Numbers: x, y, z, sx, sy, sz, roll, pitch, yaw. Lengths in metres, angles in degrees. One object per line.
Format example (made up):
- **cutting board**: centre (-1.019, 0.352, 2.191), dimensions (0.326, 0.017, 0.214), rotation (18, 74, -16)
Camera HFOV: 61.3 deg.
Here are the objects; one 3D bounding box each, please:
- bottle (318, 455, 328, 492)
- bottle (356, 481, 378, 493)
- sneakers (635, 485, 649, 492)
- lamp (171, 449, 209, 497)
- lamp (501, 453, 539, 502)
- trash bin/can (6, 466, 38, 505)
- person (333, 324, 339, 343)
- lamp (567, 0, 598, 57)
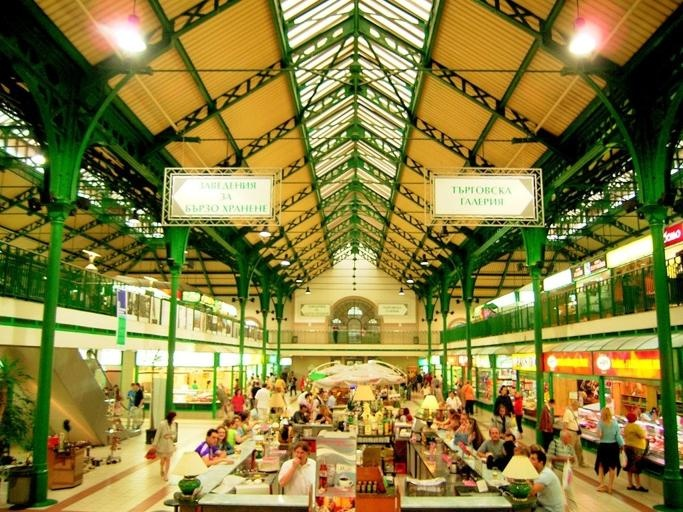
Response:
- **bottle**: centre (-0.323, 3.701, 9.919), dimensions (0.159, 0.542, 0.284), rotation (0, -16, -2)
- **bottle**: centre (0.445, 4.051, 10.214), dimensions (0.373, 0.173, 0.255), rotation (-2, -17, 2)
- **sneakers**: centre (7.537, 5.823, 14.549), dimensions (0.315, 0.141, 0.114), rotation (-2, -7, 12)
- **lamp**: centre (-2.768, 3.950, 10.569), dimensions (0.547, 0.768, 0.591), rotation (3, -16, -13)
- **lamp**: centre (3.182, 4.017, 10.608), dimensions (0.774, 0.977, 0.790), rotation (3, -16, -8)
- **trash bin/can**: centre (-7.397, 5.338, 13.506), dimensions (0.720, 0.891, 0.749), rotation (2, -17, -19)
- **person**: centre (-0.531, 6.532, 49.700), dimensions (0.579, 1.523, 0.508), rotation (0, -15, -2)
- **lamp**: centre (5.373, -5.169, 12.921), dimensions (0.600, 1.917, 0.647), rotation (16, -45, 5)
